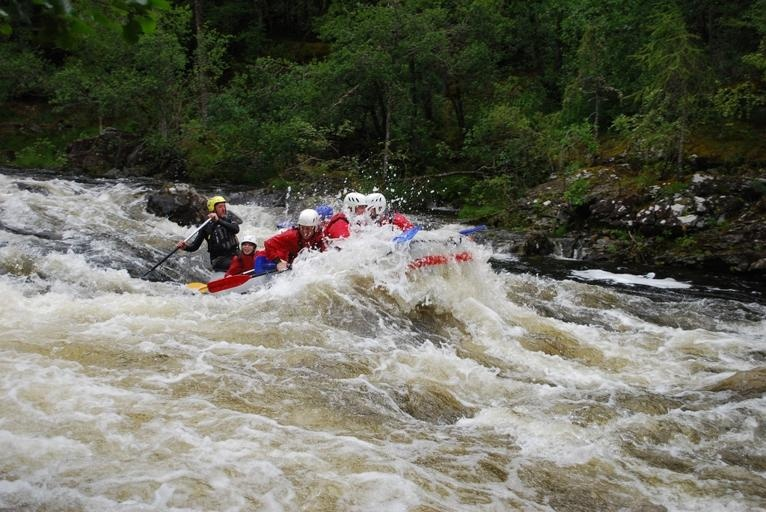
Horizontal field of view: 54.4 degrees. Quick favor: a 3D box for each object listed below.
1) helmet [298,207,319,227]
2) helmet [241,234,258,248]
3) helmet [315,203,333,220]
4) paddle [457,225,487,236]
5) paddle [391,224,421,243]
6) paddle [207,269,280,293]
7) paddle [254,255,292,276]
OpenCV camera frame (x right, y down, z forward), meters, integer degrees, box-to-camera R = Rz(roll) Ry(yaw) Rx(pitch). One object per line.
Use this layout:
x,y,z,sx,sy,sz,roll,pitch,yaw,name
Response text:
-1.879,-0.934,18.788,0.395,0.380,0.504,5,-4,4,helmet
-3.509,-0.412,19.516,0.372,0.348,0.472,2,11,-1,helmet
-1.585,-1.113,19.212,0.351,0.389,0.464,-15,-18,19,helmet
2.412,-0.649,19.649,0.578,0.246,2.332,2,0,12,paddle
0.567,-0.488,17.718,0.272,0.129,0.913,18,29,28,paddle
-3.392,0.631,18.384,1.816,0.335,0.260,-10,-13,3,paddle
-2.886,0.308,18.707,0.742,0.568,0.533,-3,15,9,paddle
